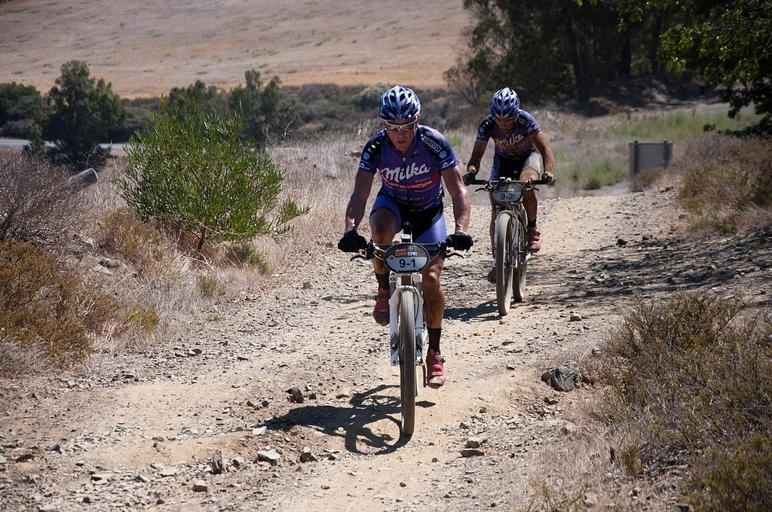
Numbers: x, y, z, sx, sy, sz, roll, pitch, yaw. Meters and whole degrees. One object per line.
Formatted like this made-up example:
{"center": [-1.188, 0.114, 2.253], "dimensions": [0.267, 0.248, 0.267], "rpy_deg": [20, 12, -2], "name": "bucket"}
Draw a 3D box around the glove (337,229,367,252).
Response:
{"center": [-0.670, -0.316, 20.649], "dimensions": [0.432, 0.262, 0.673], "rpy_deg": [-3, -3, 4], "name": "glove"}
